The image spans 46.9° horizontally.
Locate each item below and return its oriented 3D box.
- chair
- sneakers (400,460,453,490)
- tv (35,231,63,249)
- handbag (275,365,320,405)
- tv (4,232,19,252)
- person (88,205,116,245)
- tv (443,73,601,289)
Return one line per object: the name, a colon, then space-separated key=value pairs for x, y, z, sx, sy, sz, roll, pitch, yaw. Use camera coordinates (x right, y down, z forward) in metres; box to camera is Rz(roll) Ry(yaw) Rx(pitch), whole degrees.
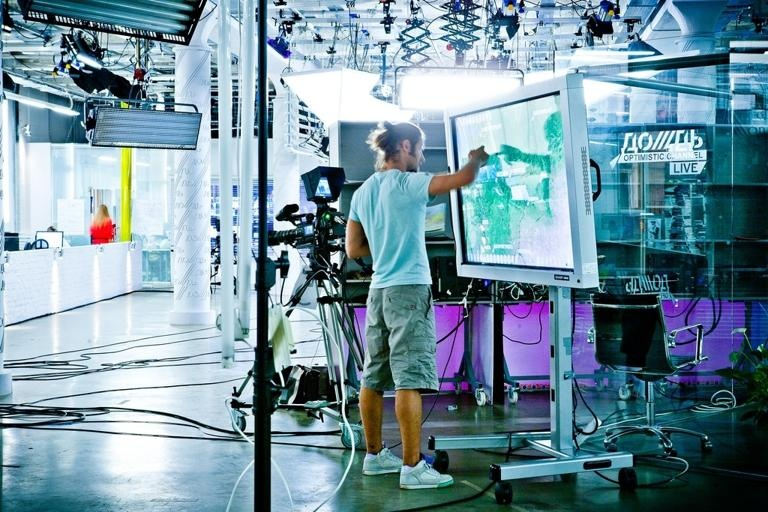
chair: x=2.620 y=1.159 z=8.780 sx=1.034 sy=1.504 sz=1.097 roll=-2 pitch=-2 yaw=43
sneakers: x=0.346 y=1.928 z=7.771 sx=0.523 sy=0.237 sz=0.197 roll=1 pitch=-5 yaw=-10
tv: x=-5.780 y=-0.274 z=15.206 sx=0.431 sy=0.236 sz=0.896 roll=-4 pitch=11 yaw=-21
handbag: x=-0.880 y=1.307 z=8.943 sx=0.436 sy=0.458 sz=0.324 roll=2 pitch=-3 yaw=-8
tv: x=-6.101 y=-0.229 z=14.426 sx=0.194 sy=0.277 sz=0.796 roll=-4 pitch=11 yaw=-21
person: x=-5.938 y=-0.659 z=18.436 sx=0.439 sy=0.787 sz=0.517 roll=-3 pitch=10 yaw=-17
tv: x=1.241 y=-0.618 z=7.686 sx=0.293 sy=2.112 sz=2.166 roll=-3 pitch=-4 yaw=-35
